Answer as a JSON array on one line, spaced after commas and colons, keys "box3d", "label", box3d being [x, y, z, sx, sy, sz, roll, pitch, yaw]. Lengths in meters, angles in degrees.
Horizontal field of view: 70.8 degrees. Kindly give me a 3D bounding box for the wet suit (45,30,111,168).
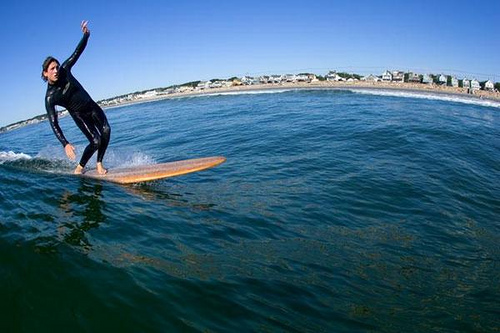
[{"box3d": [-5.200, -1.986, 10.539, 0.756, 3.924, 1.678, 7, 13, 43], "label": "wet suit"}]
